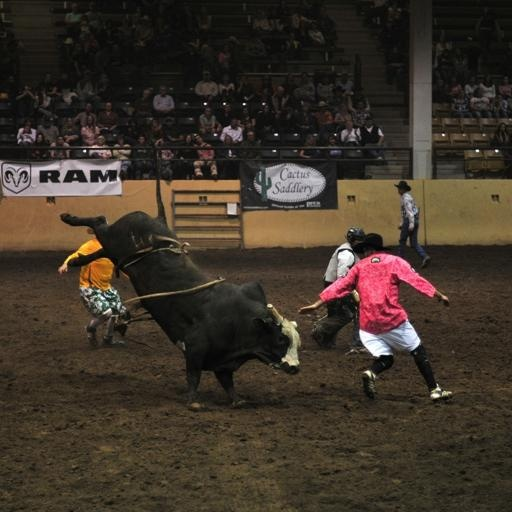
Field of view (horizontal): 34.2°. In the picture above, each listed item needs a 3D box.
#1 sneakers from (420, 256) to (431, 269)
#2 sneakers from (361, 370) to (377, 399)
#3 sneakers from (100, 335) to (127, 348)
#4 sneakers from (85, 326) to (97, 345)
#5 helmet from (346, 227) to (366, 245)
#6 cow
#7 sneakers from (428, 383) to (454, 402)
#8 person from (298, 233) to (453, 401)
[{"bbox_3d":[3.433,0.129,16.894,0.151,0.167,0.381,4,-23,6],"label":"sneakers"},{"bbox_3d":[1.224,1.406,9.148,0.147,0.339,0.204,-11,-2,35],"label":"sneakers"},{"bbox_3d":[-2.012,1.177,11.480,0.457,0.196,0.135,-1,15,-10],"label":"sneakers"},{"bbox_3d":[-2.273,1.092,11.350,0.115,0.273,0.149,-10,-5,-32],"label":"sneakers"},{"bbox_3d":[1.402,-0.257,11.246,0.317,0.220,0.236,-6,17,-17],"label":"helmet"},{"bbox_3d":[-0.796,0.455,9.510,1.042,1.602,3.735,-10,39,-44],"label":"cow"},{"bbox_3d":[2.027,1.523,9.232,0.377,0.197,0.110,-8,11,-8],"label":"sneakers"},{"bbox_3d":[1.448,0.727,9.256,1.229,1.837,0.981,10,16,40],"label":"person"}]
